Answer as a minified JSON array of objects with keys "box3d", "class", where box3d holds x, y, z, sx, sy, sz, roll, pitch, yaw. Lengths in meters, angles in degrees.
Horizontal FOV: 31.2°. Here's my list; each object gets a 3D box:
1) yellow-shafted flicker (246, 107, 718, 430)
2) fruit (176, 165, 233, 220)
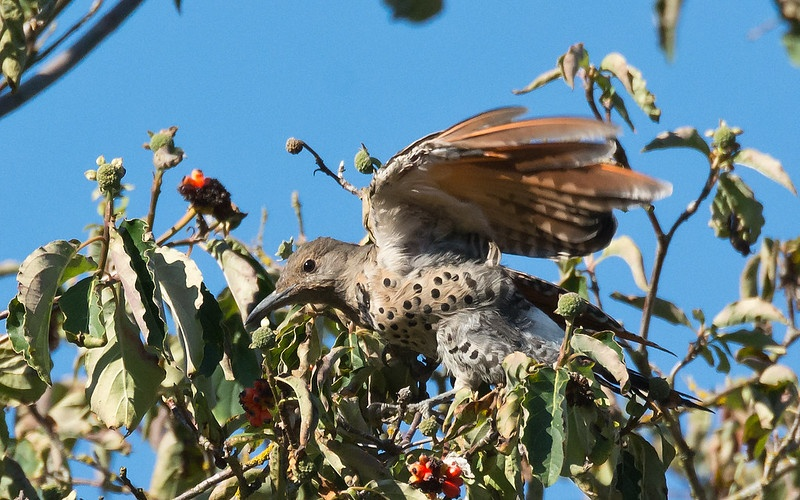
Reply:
[{"box3d":[0.402,0.150,8.177,2.437,1.586,1.817,-7,-6,-21],"class":"yellow-shafted flicker"},{"box3d":[-1.106,-0.322,7.894,0.256,0.239,0.414,-4,-25,20],"class":"fruit"}]
